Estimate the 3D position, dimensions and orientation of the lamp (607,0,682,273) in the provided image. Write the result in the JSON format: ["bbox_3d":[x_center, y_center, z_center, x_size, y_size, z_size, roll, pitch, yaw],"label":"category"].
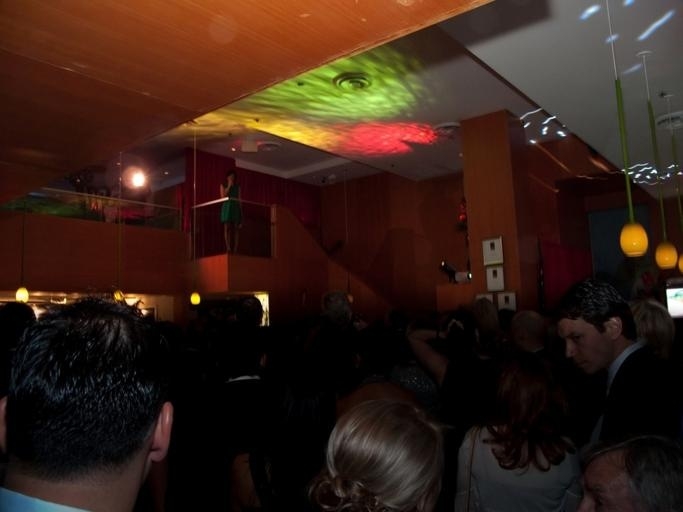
[{"bbox_3d":[2.267,-0.776,3.850,0.389,1.799,2.536,-6,-4,30],"label":"lamp"}]

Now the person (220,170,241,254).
[{"bbox_3d":[-1.638,-0.670,7.627,0.293,1.348,1.466,-3,-4,-11],"label":"person"}]
